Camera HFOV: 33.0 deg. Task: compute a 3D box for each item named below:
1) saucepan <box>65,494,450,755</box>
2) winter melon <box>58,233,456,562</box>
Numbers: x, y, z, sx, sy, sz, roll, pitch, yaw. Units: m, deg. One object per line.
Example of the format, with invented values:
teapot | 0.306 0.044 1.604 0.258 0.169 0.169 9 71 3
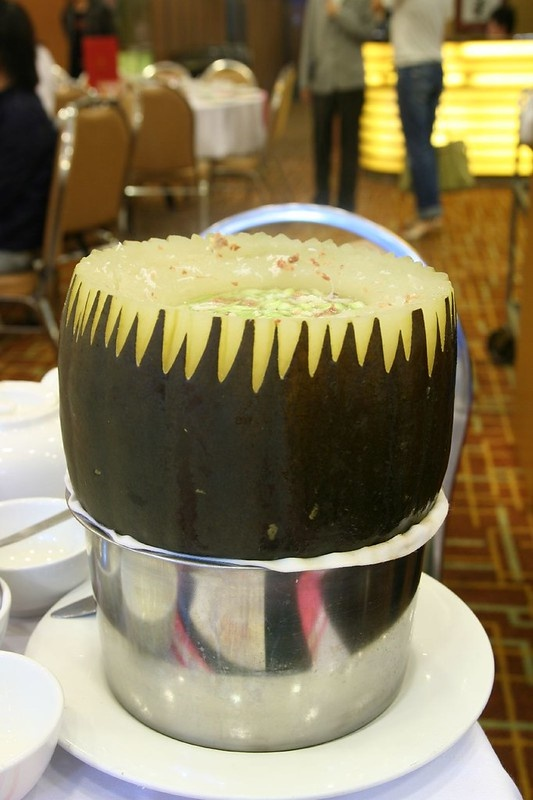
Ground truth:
saucepan | 0.007 0.137 0.507 0.183 0.073 0.171 -1 2 -29
winter melon | -0.023 -0.003 0.531 0.214 0.110 0.203 -8 17 -33
